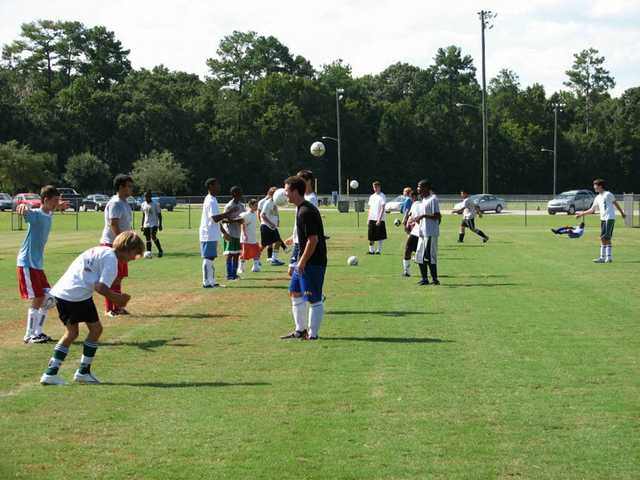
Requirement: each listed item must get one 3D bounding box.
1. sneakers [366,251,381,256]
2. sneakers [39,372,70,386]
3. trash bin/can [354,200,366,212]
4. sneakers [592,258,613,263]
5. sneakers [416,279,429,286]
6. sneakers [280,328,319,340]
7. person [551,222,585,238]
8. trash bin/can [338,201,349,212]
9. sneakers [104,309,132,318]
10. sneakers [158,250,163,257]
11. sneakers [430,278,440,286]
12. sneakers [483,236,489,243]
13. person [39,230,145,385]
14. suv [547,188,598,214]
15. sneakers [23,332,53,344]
[{"bbox_3d":[1.534,0.361,24.777,0.358,0.147,0.118,14,-3,-19],"label":"sneakers"},{"bbox_3d":[-3.248,1.694,10.634,0.266,0.102,0.143,0,2,6],"label":"sneakers"},{"bbox_3d":[2.128,-1.959,48.848,0.815,0.564,0.727,-1,2,3],"label":"trash bin/can"},{"bbox_3d":[7.033,0.516,21.754,0.466,0.188,0.158,4,2,24],"label":"sneakers"},{"bbox_3d":[2.080,0.868,17.858,0.270,0.176,0.098,3,1,16],"label":"sneakers"},{"bbox_3d":[-0.275,1.360,12.777,0.612,0.232,0.184,3,-5,4],"label":"sneakers"},{"bbox_3d":[8.729,-0.335,30.742,1.249,0.727,0.671,8,7,42],"label":"person"},{"bbox_3d":[1.496,-2.172,55.738,0.824,0.629,0.641,-1,-2,-3],"label":"trash bin/can"},{"bbox_3d":[-3.368,1.229,14.570,0.164,0.098,0.256,-3,-8,30],"label":"sneakers"},{"bbox_3d":[-4.525,0.364,24.645,0.154,0.150,0.161,0,-7,1],"label":"sneakers"},{"bbox_3d":[2.336,0.856,17.735,0.199,0.180,0.096,2,0,-1],"label":"sneakers"},{"bbox_3d":[5.423,-0.025,28.602,0.165,0.189,0.483,-2,-4,11],"label":"sneakers"},{"bbox_3d":[-2.777,0.832,10.596,1.015,1.821,0.894,5,10,33],"label":"person"},{"bbox_3d":[15.579,-2.427,53.978,3.252,1.301,1.524,-3,1,-43],"label":"suv"},{"bbox_3d":[-4.041,1.413,12.550,0.439,0.193,0.149,-4,-4,17],"label":"sneakers"}]
